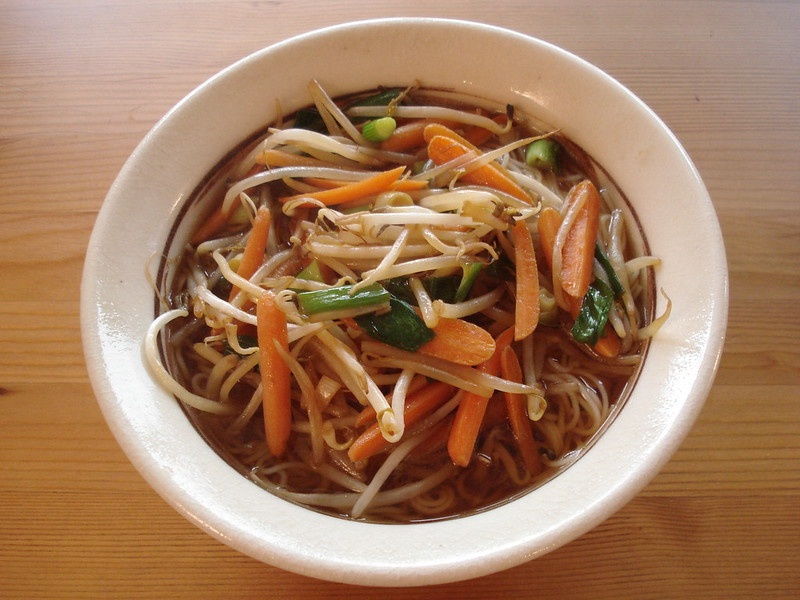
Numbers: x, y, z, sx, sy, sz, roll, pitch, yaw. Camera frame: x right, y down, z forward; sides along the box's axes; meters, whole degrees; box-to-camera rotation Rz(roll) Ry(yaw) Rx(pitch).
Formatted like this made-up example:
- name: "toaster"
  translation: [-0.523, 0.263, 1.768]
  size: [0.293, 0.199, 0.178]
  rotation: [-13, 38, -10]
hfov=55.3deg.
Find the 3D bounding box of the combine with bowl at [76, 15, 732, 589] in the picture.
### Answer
- name: "combine with bowl"
  translation: [0.007, -0.067, 2.183]
  size: [1.796, 0.383, 1.627]
  rotation: [13, 84, 3]
